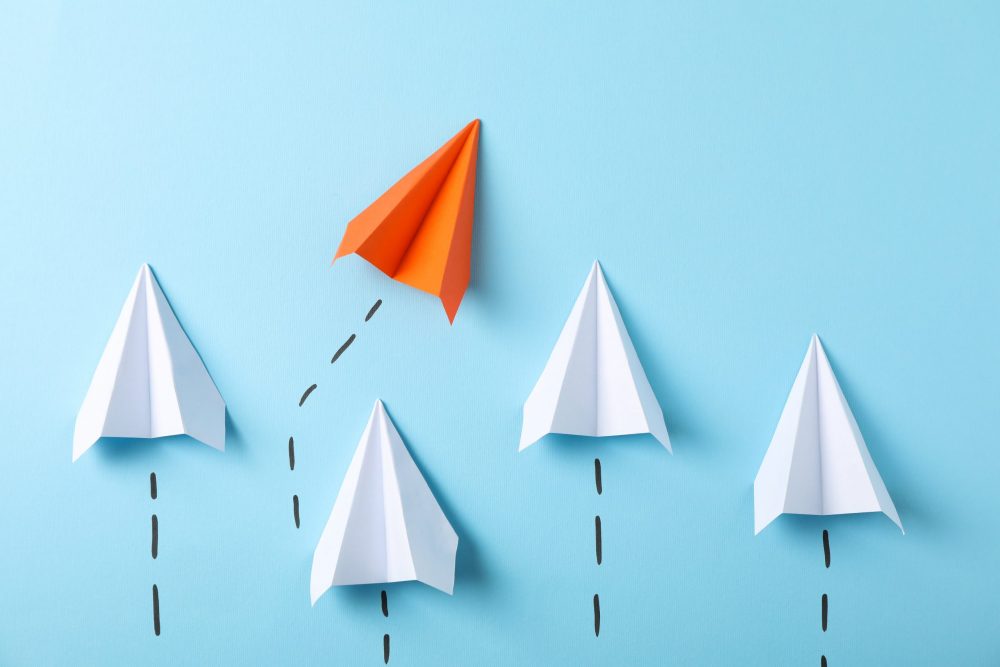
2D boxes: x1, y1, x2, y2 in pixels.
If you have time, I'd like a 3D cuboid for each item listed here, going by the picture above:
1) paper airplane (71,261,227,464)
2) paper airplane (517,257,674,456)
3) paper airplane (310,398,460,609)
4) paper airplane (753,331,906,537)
[{"bbox_3d":[-0.935,0.062,4.099,0.354,0.352,0.470,7,-66,3],"label":"paper airplane"},{"bbox_3d":[0.271,0.128,4.146,0.480,0.615,0.370,0,-10,8],"label":"paper airplane"},{"bbox_3d":[-0.304,0.465,4.219,0.488,0.597,0.373,8,-18,-30],"label":"paper airplane"},{"bbox_3d":[0.848,0.198,4.098,0.437,0.317,0.529,1,-51,19],"label":"paper airplane"}]
